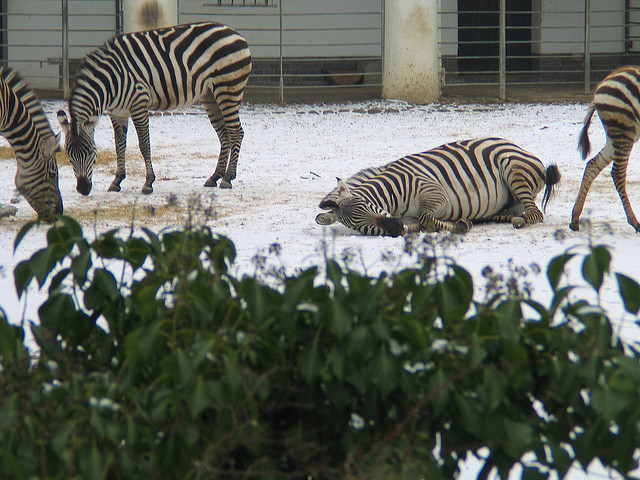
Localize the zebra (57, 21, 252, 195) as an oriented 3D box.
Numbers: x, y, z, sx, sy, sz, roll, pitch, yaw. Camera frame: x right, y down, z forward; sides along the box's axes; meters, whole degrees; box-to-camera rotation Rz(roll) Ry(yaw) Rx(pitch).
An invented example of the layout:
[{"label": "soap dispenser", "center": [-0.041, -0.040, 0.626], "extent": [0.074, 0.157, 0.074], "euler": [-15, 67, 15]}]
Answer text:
[{"label": "zebra", "center": [-2.346, -1.708, 26.792], "extent": [2.777, 2.796, 0.877], "euler": [-4, -10, -21]}]

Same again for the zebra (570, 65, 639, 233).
[{"label": "zebra", "center": [3.802, -1.234, 24.751], "extent": [0.908, 2.121, 0.877], "euler": [2, 10, 10]}]
